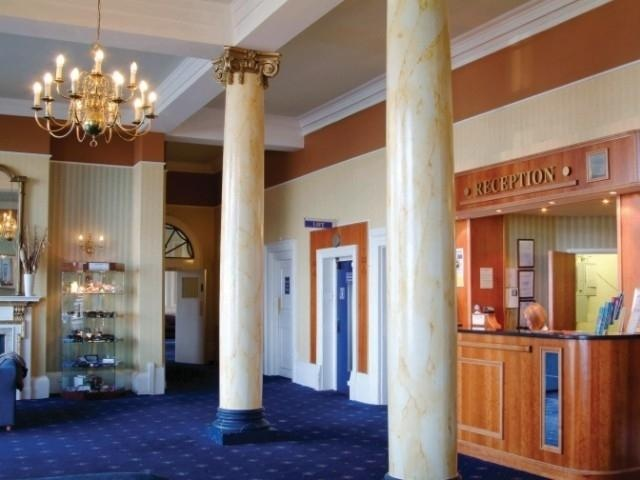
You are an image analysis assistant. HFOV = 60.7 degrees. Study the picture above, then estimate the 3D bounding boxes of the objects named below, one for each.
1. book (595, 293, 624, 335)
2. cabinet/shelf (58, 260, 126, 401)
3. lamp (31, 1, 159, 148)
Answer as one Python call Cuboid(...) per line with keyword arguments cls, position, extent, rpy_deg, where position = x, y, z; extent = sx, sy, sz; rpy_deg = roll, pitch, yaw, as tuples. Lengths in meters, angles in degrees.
Cuboid(cls="book", position=(2.981, 0.773, 5.622), extent=(0.293, 0.389, 0.268), rpy_deg=(-2, -6, 18))
Cuboid(cls="cabinet/shelf", position=(-4.132, 1.627, 10.078), extent=(1.203, 2.377, 0.557), rpy_deg=(2, -6, -23))
Cuboid(cls="lamp", position=(-3.092, -2.310, 7.433), extent=(1.530, 2.407, 1.562), rpy_deg=(1, -6, -7))
